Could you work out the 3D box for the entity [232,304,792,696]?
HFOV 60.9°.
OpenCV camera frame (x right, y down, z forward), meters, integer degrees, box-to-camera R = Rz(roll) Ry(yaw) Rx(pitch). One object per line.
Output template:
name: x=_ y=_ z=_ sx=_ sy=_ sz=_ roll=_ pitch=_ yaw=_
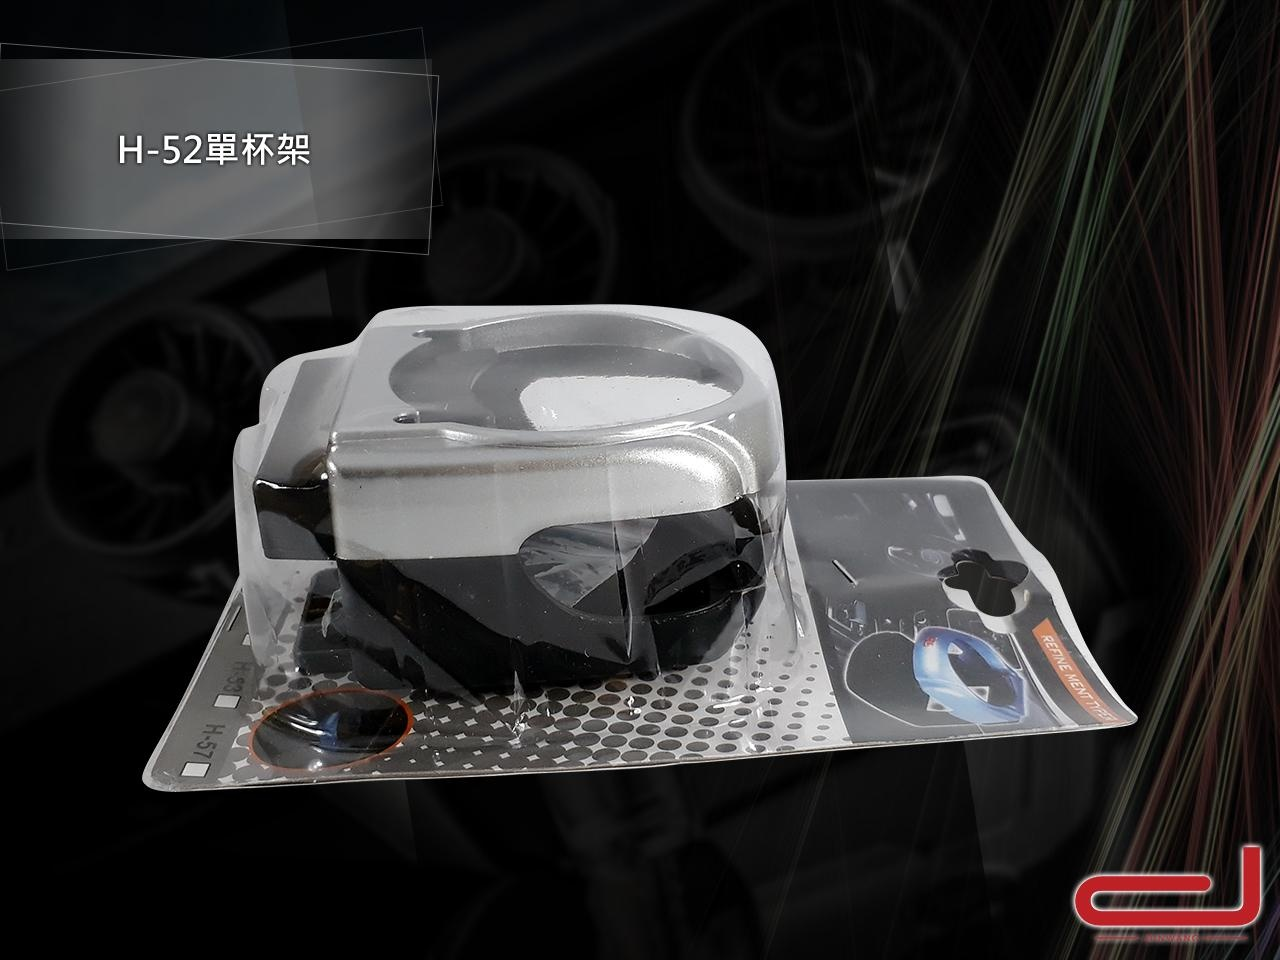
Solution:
entity: x=-0.177 y=0.001 z=1.508 sx=0.678 sy=0.342 sz=0.537 roll=-3 pitch=38 yaw=-6
